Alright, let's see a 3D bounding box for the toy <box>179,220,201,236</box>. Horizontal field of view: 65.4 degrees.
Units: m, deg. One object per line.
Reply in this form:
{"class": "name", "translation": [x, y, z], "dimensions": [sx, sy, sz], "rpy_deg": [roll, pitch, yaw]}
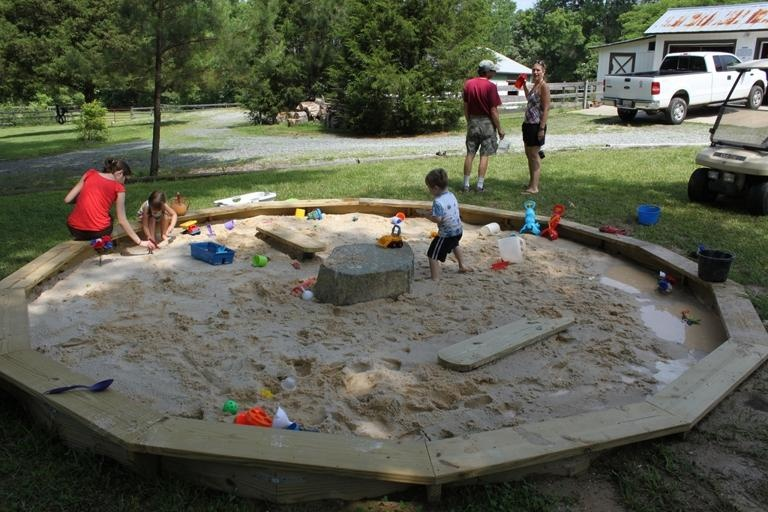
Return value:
{"class": "toy", "translation": [-2.644, -0.380, 8.202], "dimensions": [0.204, 0.118, 0.267], "rpy_deg": [-29, 39, -28]}

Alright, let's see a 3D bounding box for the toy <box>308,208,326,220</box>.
{"class": "toy", "translation": [-0.986, -0.596, 8.844], "dimensions": [0.230, 0.159, 0.155], "rpy_deg": [-5, 43, -10]}

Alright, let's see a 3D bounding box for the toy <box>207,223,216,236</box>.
{"class": "toy", "translation": [-2.370, -0.362, 8.240], "dimensions": [0.098, 0.043, 0.313], "rpy_deg": [-2, 23, -26]}

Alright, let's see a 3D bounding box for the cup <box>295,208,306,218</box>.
{"class": "cup", "translation": [-1.243, -0.636, 8.924], "dimensions": [0.142, 0.127, 0.137], "rpy_deg": [2, 19, -1]}

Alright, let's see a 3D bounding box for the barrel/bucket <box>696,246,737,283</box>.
{"class": "barrel/bucket", "translation": [3.668, 0.071, 6.641], "dimensions": [0.394, 0.320, 0.390], "rpy_deg": [1, 13, 0]}

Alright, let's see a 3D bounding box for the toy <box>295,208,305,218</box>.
{"class": "toy", "translation": [-1.241, -0.635, 8.931], "dimensions": [0.140, 0.126, 0.136], "rpy_deg": [6, 18, 12]}

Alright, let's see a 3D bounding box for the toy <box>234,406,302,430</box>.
{"class": "toy", "translation": [-0.912, 1.305, 4.752], "dimensions": [0.366, 0.126, 0.236], "rpy_deg": [2, -7, 12]}

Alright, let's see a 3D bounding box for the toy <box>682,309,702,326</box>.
{"class": "toy", "translation": [3.262, 0.665, 6.310], "dimensions": [0.218, 0.149, 0.092], "rpy_deg": [5, 2, 37]}

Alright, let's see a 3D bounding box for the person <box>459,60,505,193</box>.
{"class": "person", "translation": [1.656, -2.163, 10.043], "dimensions": [0.677, 2.105, 0.850], "rpy_deg": [2, 23, 7]}

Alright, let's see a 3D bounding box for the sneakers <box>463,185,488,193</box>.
{"class": "sneakers", "translation": [1.519, -1.120, 10.139], "dimensions": [0.137, 0.160, 0.391], "rpy_deg": [-1, 1, -27]}

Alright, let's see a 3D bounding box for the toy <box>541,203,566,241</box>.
{"class": "toy", "translation": [2.373, -0.522, 8.403], "dimensions": [0.251, 0.425, 0.707], "rpy_deg": [7, 23, 16]}

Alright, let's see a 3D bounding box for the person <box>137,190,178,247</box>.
{"class": "person", "translation": [-2.929, -0.518, 7.828], "dimensions": [0.419, 0.621, 0.728], "rpy_deg": [-13, 33, -35]}

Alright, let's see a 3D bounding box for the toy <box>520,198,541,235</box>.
{"class": "toy", "translation": [2.102, -0.599, 8.526], "dimensions": [0.255, 0.178, 0.573], "rpy_deg": [-2, 48, 23]}

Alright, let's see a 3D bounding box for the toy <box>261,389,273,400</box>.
{"class": "toy", "translation": [-1.009, 1.190, 5.163], "dimensions": [0.104, 0.039, 0.109], "rpy_deg": [-5, 23, -13]}

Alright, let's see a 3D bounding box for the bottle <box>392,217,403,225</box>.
{"class": "bottle", "translation": [0.198, -0.506, 8.696], "dimensions": [0.102, 0.068, 0.135], "rpy_deg": [-11, 16, -38]}

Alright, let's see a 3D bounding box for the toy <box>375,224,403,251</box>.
{"class": "toy", "translation": [0.082, -0.212, 7.228], "dimensions": [0.347, 0.304, 0.302], "rpy_deg": [4, 14, 10]}

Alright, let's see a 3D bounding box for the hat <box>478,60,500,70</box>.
{"class": "hat", "translation": [1.751, -3.145, 9.831], "dimensions": [0.307, 0.178, 0.223], "rpy_deg": [-30, 36, -30]}

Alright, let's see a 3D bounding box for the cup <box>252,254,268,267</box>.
{"class": "cup", "translation": [-1.488, 0.057, 7.199], "dimensions": [0.122, 0.140, 0.152], "rpy_deg": [-5, -9, -12]}

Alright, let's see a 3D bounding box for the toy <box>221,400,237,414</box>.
{"class": "toy", "translation": [-1.270, 1.251, 4.981], "dimensions": [0.123, 0.084, 0.160], "rpy_deg": [-6, 23, -14]}

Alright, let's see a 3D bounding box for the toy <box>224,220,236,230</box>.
{"class": "toy", "translation": [-2.143, -0.422, 8.395], "dimensions": [0.114, 0.102, 0.154], "rpy_deg": [-8, -17, -27]}

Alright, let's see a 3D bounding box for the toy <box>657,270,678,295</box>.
{"class": "toy", "translation": [3.250, 0.302, 6.974], "dimensions": [0.273, 0.242, 0.189], "rpy_deg": [7, 10, -45]}

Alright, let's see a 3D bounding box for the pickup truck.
{"class": "pickup truck", "translation": [9.247, -5.428, 19.062], "dimensions": [4.405, 1.994, 2.416], "rpy_deg": [-8, 24, -18]}

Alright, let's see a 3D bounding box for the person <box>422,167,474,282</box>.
{"class": "person", "translation": [0.778, -0.424, 7.182], "dimensions": [0.553, 1.229, 0.902], "rpy_deg": [1, 23, 4]}

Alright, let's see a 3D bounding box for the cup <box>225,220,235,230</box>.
{"class": "cup", "translation": [-2.155, -0.428, 8.411], "dimensions": [0.095, 0.099, 0.145], "rpy_deg": [-32, 26, -16]}

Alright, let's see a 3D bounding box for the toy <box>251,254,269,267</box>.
{"class": "toy", "translation": [-1.475, 0.067, 7.220], "dimensions": [0.124, 0.142, 0.154], "rpy_deg": [-6, -17, -21]}

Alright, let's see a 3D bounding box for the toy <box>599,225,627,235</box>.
{"class": "toy", "translation": [3.076, -0.333, 7.973], "dimensions": [0.229, 0.061, 0.180], "rpy_deg": [0, 9, -25]}

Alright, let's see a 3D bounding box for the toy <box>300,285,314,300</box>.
{"class": "toy", "translation": [-0.834, 0.429, 6.569], "dimensions": [0.133, 0.076, 0.135], "rpy_deg": [-3, 23, -7]}

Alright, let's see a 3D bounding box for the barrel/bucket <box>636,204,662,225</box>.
{"class": "barrel/bucket", "translation": [3.771, -0.598, 8.491], "dimensions": [0.328, 0.207, 0.318], "rpy_deg": [-5, 17, 2]}
